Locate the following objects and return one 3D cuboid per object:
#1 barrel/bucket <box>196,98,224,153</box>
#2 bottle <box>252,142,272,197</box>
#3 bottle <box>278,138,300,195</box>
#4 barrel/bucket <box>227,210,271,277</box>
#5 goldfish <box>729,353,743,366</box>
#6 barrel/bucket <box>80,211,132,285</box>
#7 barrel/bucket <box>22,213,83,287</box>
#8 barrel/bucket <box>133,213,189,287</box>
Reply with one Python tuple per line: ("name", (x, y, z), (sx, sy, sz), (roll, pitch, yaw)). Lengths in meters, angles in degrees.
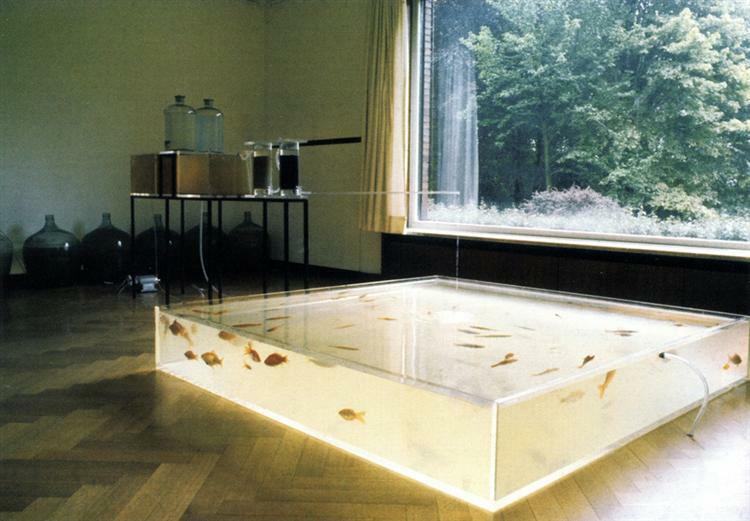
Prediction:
("barrel/bucket", (-1.159, -0.923, 3.936), (0.187, 0.336, 0.419), (-4, 14, -17))
("bottle", (-0.671, -0.523, 3.311), (0.136, 0.294, 0.078), (2, 14, 8))
("bottle", (-0.501, -0.529, 3.269), (0.108, 0.298, 0.095), (-2, 14, -11))
("barrel/bucket", (-1.256, -0.129, 5.581), (0.458, 0.779, 0.487), (1, 10, 0))
("goldfish", (1.608, 0.438, 2.540), (0.070, 0.052, 0.064), (-1, 1, 18))
("barrel/bucket", (-2.287, -0.089, 4.814), (0.313, 0.552, 0.308), (1, 3, 0))
("barrel/bucket", (-2.628, -0.063, 4.686), (0.376, 0.620, 0.379), (7, 11, -1))
("barrel/bucket", (-2.019, -0.087, 5.200), (0.581, 0.867, 0.519), (-4, 12, -30))
